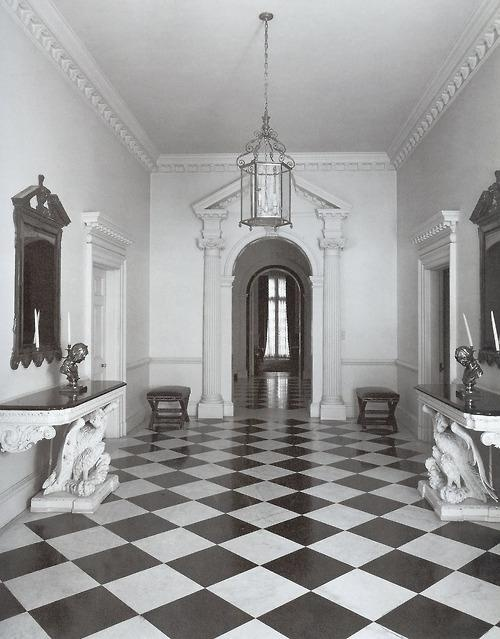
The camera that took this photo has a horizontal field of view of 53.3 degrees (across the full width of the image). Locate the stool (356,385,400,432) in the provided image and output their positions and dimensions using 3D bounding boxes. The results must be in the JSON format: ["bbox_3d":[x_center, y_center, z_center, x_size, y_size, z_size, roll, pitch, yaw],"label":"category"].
[{"bbox_3d":[1.965,1.379,7.726,0.527,0.548,0.763,-2,-16,6],"label":"stool"}]

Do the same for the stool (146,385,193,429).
[{"bbox_3d":[-1.240,1.375,7.704,0.566,0.628,0.931,-1,-1,2],"label":"stool"}]

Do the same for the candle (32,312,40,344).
[{"bbox_3d":[-1.804,0.088,4.216,0.056,0.331,0.391,1,-1,-23],"label":"candle"}]
